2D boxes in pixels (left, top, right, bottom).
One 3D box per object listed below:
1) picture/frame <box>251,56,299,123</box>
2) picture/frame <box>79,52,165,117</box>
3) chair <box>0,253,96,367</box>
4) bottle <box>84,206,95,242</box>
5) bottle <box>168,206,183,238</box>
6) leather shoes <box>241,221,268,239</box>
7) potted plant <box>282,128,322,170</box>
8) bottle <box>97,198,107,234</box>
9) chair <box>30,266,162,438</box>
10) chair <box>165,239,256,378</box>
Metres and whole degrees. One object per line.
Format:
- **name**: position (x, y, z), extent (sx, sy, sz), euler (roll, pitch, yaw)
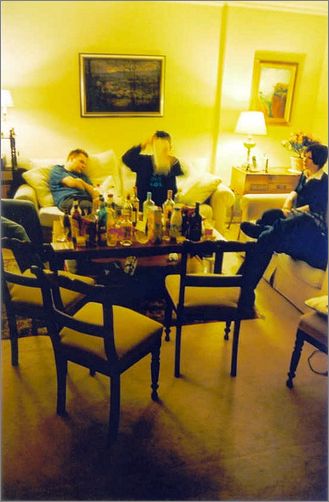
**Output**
- **picture/frame**: position (1.292, -1.880, 4.456), extent (0.615, 0.706, 0.109), euler (-4, 17, -24)
- **picture/frame**: position (-0.478, -1.777, 3.981), extent (0.658, 0.492, 0.026), euler (-5, 23, -16)
- **chair**: position (-0.547, 0.291, 1.744), extent (0.305, 0.539, 0.357), euler (14, 37, 6)
- **bottle**: position (-0.426, -0.125, 2.188), extent (0.060, 0.177, 0.063), euler (3, 16, -1)
- **bottle**: position (0.068, -0.174, 2.323), extent (0.086, 0.261, 0.092), euler (2, 23, -1)
- **leather shoes**: position (0.723, -0.185, 3.114), extent (0.082, 0.103, 0.250), euler (13, 21, -31)
- **potted plant**: position (1.531, -1.172, 4.233), extent (0.400, 0.510, 0.470), euler (-9, 20, -21)
- **bottle**: position (-0.363, -0.214, 2.200), extent (0.049, 0.217, 0.116), euler (1, 16, -10)
- **chair**: position (-0.271, 0.366, 1.569), extent (0.373, 0.760, 0.448), euler (12, 22, 23)
- **chair**: position (0.203, 0.226, 2.007), extent (0.456, 0.801, 0.525), euler (6, 22, 11)
